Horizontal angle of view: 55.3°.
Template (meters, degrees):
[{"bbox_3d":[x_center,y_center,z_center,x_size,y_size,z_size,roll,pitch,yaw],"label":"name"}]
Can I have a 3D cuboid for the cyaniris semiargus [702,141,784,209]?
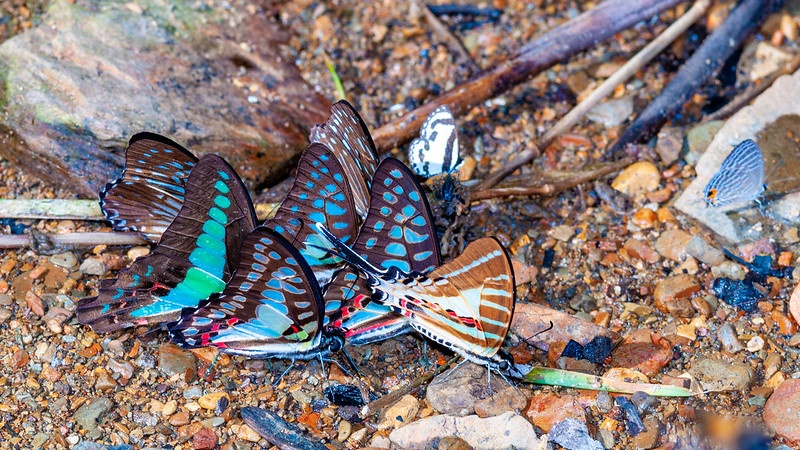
[{"bbox_3d":[3.254,-0.476,7.242,0.605,0.514,0.499,0,73,-1],"label":"cyaniris semiargus"}]

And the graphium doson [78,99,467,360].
[{"bbox_3d":[-1.220,0.133,6.745,3.041,1.079,1.972,-3,73,-2],"label":"graphium doson"}]
